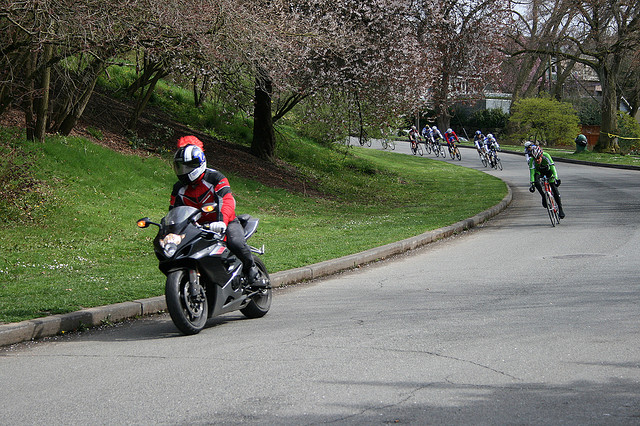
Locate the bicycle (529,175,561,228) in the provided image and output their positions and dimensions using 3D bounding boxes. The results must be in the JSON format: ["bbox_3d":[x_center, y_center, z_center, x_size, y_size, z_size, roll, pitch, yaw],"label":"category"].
[{"bbox_3d":[7.056,-0.380,20.888,0.955,1.439,2.376,-13,0,23],"label":"bicycle"}]

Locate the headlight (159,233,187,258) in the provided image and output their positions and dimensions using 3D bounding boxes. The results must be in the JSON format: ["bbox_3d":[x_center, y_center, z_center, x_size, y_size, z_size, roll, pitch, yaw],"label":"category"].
[{"bbox_3d":[-2.154,0.435,9.967,0.240,0.346,0.172,21,-12,32],"label":"headlight"}]

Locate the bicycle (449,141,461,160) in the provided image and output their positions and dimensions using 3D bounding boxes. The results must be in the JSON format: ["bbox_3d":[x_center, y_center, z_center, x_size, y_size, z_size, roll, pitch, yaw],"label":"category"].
[{"bbox_3d":[9.502,-4.404,48.284,0.680,1.265,1.272,1,5,-5],"label":"bicycle"}]

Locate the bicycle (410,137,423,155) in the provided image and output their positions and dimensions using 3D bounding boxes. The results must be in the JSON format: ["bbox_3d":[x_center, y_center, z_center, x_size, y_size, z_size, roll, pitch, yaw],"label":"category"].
[{"bbox_3d":[7.425,-5.123,52.285,0.813,1.254,1.842,1,5,2],"label":"bicycle"}]

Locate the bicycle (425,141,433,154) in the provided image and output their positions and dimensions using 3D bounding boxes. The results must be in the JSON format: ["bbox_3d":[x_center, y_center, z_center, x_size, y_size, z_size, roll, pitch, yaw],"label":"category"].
[{"bbox_3d":[8.215,-4.923,51.744,0.534,0.931,1.296,2,5,8],"label":"bicycle"}]

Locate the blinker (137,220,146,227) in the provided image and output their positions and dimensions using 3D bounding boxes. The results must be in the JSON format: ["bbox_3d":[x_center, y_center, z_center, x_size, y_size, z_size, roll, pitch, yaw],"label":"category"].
[{"bbox_3d":[-2.644,0.153,10.103,0.115,0.113,0.197,0,6,-19],"label":"blinker"}]

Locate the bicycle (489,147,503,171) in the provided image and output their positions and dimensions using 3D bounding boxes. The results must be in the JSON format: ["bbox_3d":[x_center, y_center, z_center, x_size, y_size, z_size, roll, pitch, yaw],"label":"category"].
[{"bbox_3d":[10.997,-3.384,42.415,0.681,1.385,1.021,0,5,-14],"label":"bicycle"}]

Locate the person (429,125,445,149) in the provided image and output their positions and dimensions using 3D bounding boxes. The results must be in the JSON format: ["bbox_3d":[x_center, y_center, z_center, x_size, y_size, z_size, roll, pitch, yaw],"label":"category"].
[{"bbox_3d":[8.801,-5.551,51.573,1.290,1.015,2.272,-4,38,0],"label":"person"}]

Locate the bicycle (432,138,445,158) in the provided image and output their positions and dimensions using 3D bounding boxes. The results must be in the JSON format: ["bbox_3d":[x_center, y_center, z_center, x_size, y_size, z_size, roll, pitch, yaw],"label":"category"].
[{"bbox_3d":[8.765,-4.729,50.314,0.457,1.226,1.776,0,5,-12],"label":"bicycle"}]
